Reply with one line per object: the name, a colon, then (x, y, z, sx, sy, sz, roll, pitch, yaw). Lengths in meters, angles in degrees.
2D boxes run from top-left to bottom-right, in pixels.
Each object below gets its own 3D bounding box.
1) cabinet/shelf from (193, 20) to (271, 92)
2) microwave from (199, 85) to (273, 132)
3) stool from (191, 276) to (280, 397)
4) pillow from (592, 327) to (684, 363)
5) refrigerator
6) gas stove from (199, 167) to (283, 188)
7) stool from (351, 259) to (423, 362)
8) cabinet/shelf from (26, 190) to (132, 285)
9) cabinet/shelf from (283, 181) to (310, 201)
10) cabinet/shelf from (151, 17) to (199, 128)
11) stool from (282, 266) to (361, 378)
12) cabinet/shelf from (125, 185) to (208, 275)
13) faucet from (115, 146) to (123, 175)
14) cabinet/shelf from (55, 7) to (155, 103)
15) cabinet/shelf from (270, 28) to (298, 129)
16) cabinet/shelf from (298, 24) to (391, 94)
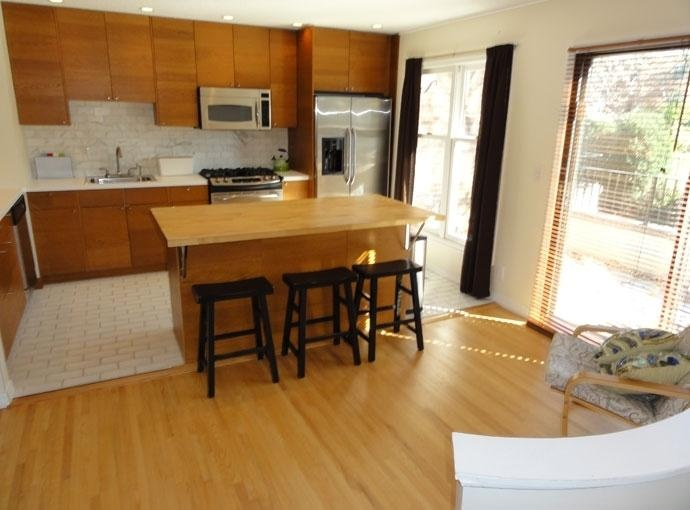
cabinet/shelf: (-1.402, -2.419, 6.053, 0.801, 0.702, 0.259, -2, 10, -28)
microwave: (-1.388, -1.799, 6.435, 0.872, 0.532, 0.522, -4, 7, -15)
stool: (-0.861, 0.581, 3.945, 0.635, 0.775, 0.539, -7, 20, -16)
pillow: (1.876, 0.562, 3.240, 0.328, 0.101, 0.307, -5, 7, 35)
refrigerator: (0.042, -1.345, 6.903, 0.967, 1.777, 0.772, -4, 32, -8)
gas stove: (-1.300, -0.967, 6.338, 0.931, 0.195, 0.606, -10, 21, -26)
stool: (0.348, 0.492, 4.449, 0.641, 0.926, 0.525, -7, 18, -18)
cabinet/shelf: (-2.934, -0.232, 5.488, 0.850, 0.825, 0.401, -10, 20, -25)
cabinet/shelf: (-0.640, -0.862, 6.563, 0.340, 0.328, 0.226, -5, 14, -26)
cabinet/shelf: (-2.002, -2.145, 5.944, 0.509, 1.202, 0.155, -20, 38, -41)
stool: (-0.210, 0.516, 4.177, 0.584, 0.788, 0.450, -10, 20, -28)
cabinet/shelf: (-1.985, -0.315, 5.961, 1.083, 1.026, 0.532, -2, -1, 18)
faucet: (-2.740, -1.146, 6.112, 0.100, 0.335, 0.153, -8, 20, -20)
cabinet/shelf: (-2.676, -2.234, 5.547, 0.876, 0.858, 0.342, -6, 18, -23)
cabinet/shelf: (-0.793, -2.216, 6.482, 0.339, 1.462, 0.133, -1, -11, -10)
cabinet/shelf: (-0.069, -2.480, 6.574, 1.278, 0.785, 0.423, -13, 22, -39)
